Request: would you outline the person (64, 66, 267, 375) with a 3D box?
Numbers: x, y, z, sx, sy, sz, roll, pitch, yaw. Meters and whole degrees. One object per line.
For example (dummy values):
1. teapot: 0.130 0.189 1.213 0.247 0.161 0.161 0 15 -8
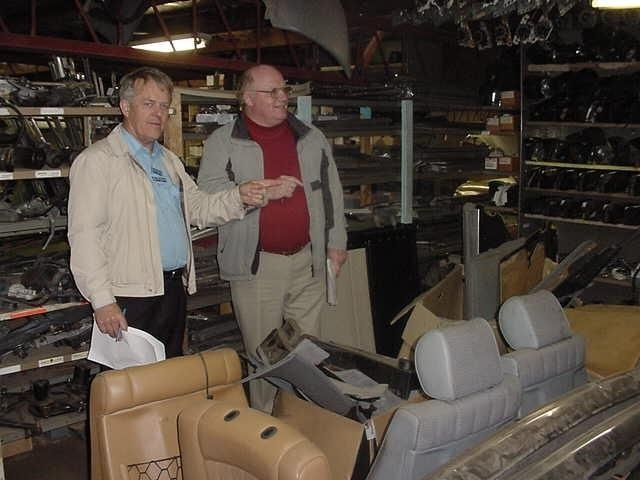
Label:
1. person: -0.996 -0.095 2.504 0.406 1.591 0.692 4 16 27
